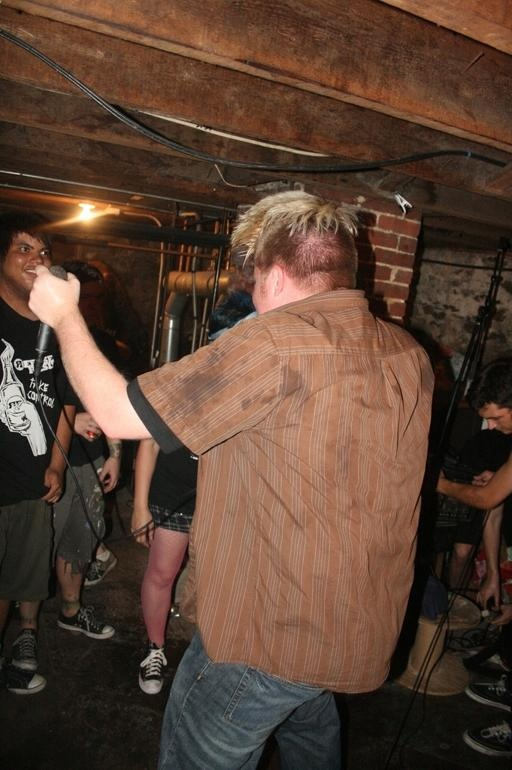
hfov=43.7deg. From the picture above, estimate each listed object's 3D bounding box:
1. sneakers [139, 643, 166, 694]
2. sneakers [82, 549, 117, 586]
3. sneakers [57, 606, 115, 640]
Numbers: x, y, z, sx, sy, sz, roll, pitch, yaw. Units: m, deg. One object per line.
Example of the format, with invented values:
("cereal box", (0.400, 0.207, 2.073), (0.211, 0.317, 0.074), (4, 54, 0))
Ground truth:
("sneakers", (-0.479, 1.377, 3.055), (0.099, 0.100, 0.251), (14, -5, -6))
("sneakers", (-0.990, 1.170, 4.095), (0.095, 0.089, 0.243), (9, 25, 16))
("sneakers", (-0.905, 1.287, 3.512), (0.361, 0.133, 0.122), (13, 7, 3))
